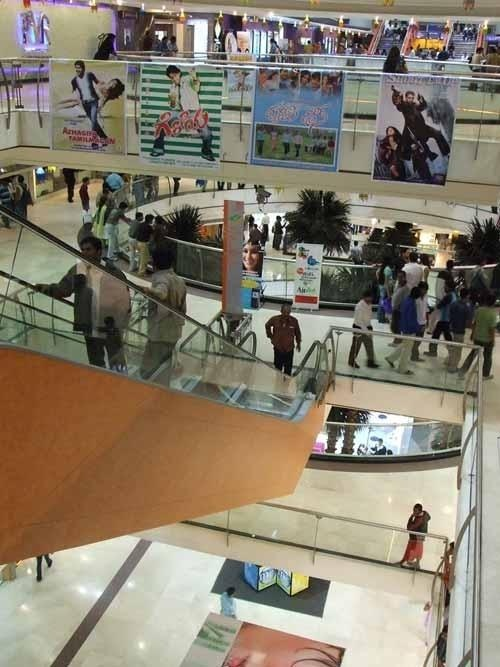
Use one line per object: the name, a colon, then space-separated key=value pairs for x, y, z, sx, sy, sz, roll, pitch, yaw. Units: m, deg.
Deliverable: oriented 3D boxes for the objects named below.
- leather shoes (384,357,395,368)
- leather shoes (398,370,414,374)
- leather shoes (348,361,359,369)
leather shoes: x=2.147 y=0.449 z=7.410 sx=0.059 sy=0.181 sz=0.128 roll=-25 pitch=-1 yaw=1
leather shoes: x=2.386 y=0.595 z=7.358 sx=0.200 sy=0.083 sz=0.070 roll=2 pitch=29 yaw=12
leather shoes: x=1.614 y=0.494 z=7.499 sx=0.189 sy=0.072 sz=0.131 roll=12 pitch=1 yaw=32
